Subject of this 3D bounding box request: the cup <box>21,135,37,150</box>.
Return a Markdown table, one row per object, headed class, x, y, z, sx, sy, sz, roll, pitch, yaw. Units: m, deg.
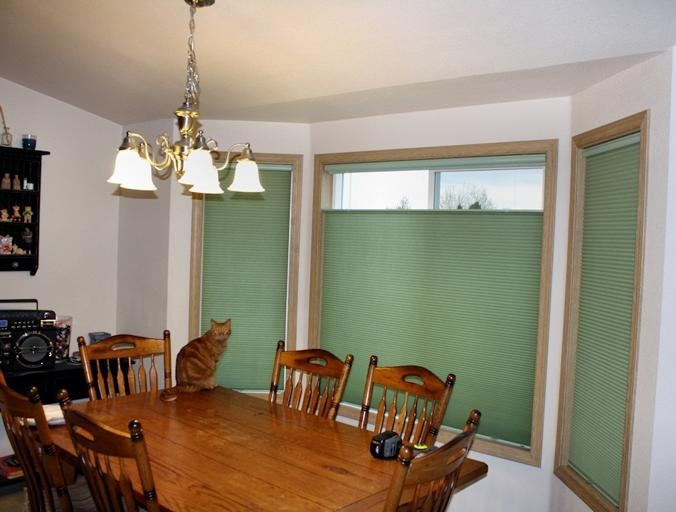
| class | x | y | z | sx | sy | sz | roll | pitch | yaw |
| --- | --- | --- | --- | --- | --- | --- | --- | --- | --- |
| cup | -2.519 | -0.923 | 3.868 | 0.092 | 0.129 | 0.101 | 3 | 5 | 0 |
